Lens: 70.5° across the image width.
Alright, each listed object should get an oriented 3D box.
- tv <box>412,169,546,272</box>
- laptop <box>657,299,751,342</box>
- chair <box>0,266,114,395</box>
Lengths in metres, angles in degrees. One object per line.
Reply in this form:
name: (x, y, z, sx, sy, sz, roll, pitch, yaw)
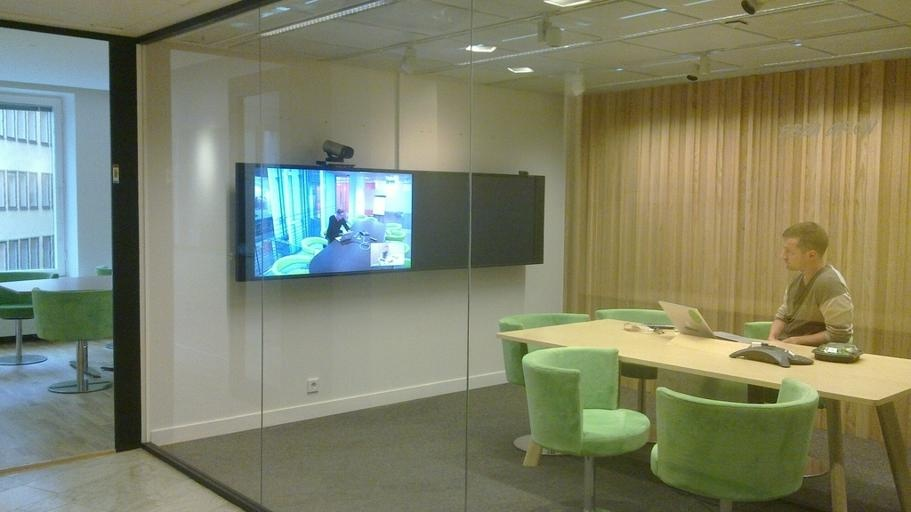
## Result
tv: (0.116, -0.196, 3.516, 0.751, 0.551, 0.161, 2, 9, 32)
laptop: (1.184, 0.295, 3.044, 0.258, 0.128, 0.228, -5, 2, -30)
chair: (-4.289, 0.914, 7.143, 0.926, 1.181, 1.298, -8, 9, -34)
